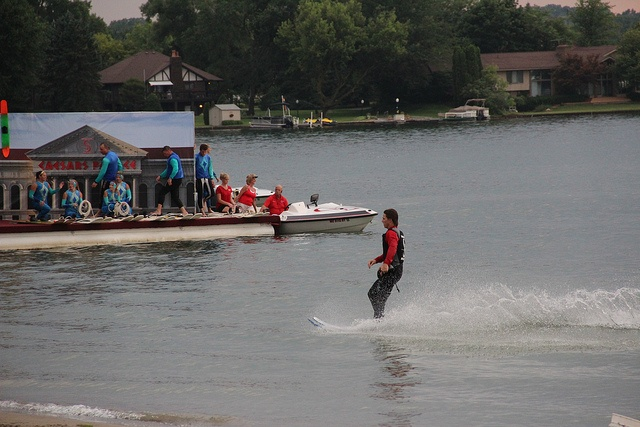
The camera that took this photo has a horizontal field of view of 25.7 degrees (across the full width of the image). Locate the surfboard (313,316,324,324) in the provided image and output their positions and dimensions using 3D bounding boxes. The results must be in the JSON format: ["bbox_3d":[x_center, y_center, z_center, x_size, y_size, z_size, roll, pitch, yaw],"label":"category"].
[{"bbox_3d":[-0.077,6.119,81.676,0.902,0.199,0.137,29,-5,46],"label":"surfboard"}]

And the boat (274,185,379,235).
[{"bbox_3d":[0.231,0.017,94.183,6.047,2.134,2.996,0,2,-8],"label":"boat"}]
